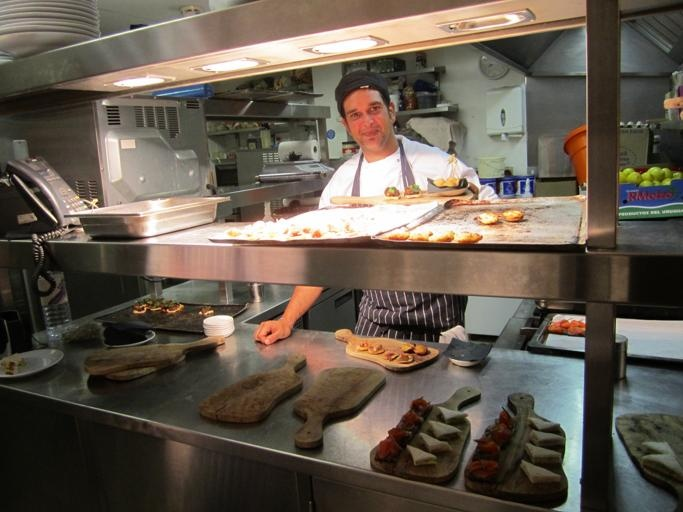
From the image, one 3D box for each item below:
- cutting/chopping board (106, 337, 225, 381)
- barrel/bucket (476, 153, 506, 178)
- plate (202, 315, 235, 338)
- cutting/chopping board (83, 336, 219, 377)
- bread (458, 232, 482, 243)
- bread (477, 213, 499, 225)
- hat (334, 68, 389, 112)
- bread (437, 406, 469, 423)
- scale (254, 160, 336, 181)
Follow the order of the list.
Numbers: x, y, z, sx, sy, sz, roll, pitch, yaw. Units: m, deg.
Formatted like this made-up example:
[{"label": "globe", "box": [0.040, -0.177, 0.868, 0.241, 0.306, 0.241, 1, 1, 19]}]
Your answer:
[{"label": "cutting/chopping board", "box": [-0.694, 0.407, 2.045, 0.135, 0.031, 0.490, 6, 8, 34]}, {"label": "barrel/bucket", "box": [1.497, -0.909, 5.129, 0.279, 0.167, 0.250, 0, 14, 17]}, {"label": "plate", "box": [-0.549, 0.310, 2.292, 0.113, 0.042, 0.109, -1, 4, -29]}, {"label": "cutting/chopping board", "box": [-0.783, 0.369, 2.042, 0.324, 0.028, 0.208, -2, 6, -37]}, {"label": "bread", "box": [0.299, -0.043, 1.197, 0.038, 0.014, 0.040, -2, 8, 3]}, {"label": "bread", "box": [0.388, -0.107, 1.383, 0.045, 0.013, 0.040, 3, 25, 18]}, {"label": "hat", "box": [0.096, -0.862, 2.656, 0.238, 0.112, 0.225, -1, 18, 22]}, {"label": "bread", "box": [0.324, 0.468, 1.514, 0.052, 0.015, 0.048, 3, 6, 24]}, {"label": "scale", "box": [-0.338, -0.666, 3.993, 0.500, 0.092, 0.427, 0, 7, 13]}]
